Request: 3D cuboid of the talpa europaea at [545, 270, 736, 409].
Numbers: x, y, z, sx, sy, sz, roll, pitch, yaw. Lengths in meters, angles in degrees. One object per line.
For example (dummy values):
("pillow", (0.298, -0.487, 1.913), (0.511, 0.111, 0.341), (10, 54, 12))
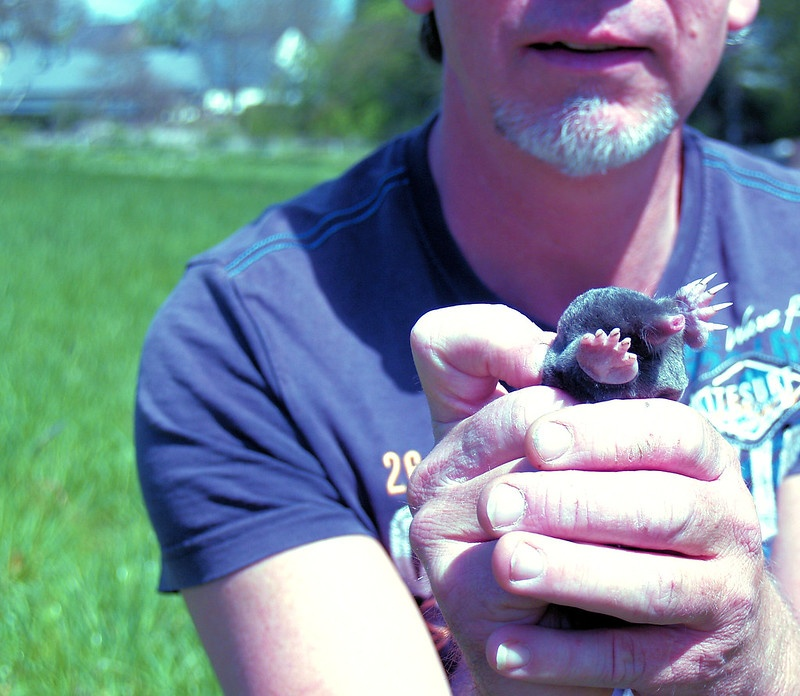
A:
("talpa europaea", (0.428, 0.013, 1.688), (0.210, 0.125, 0.294), (-23, 3, -31))
